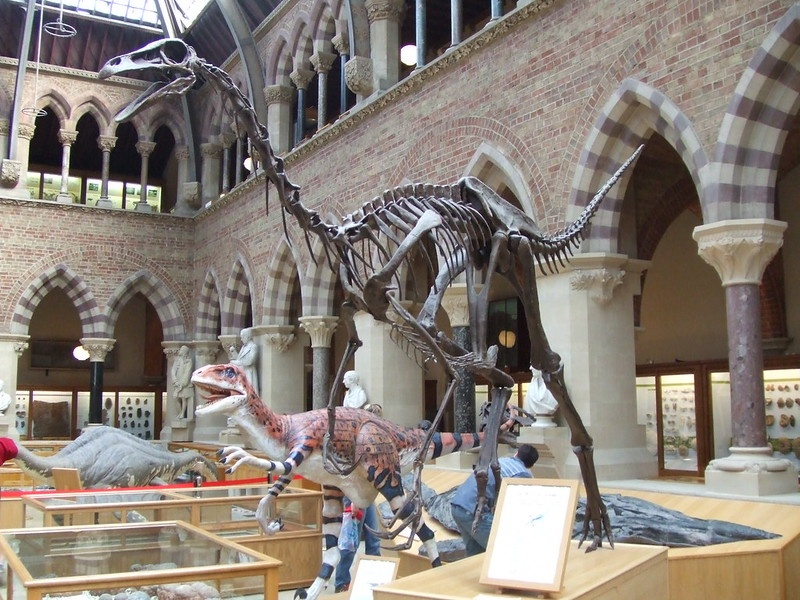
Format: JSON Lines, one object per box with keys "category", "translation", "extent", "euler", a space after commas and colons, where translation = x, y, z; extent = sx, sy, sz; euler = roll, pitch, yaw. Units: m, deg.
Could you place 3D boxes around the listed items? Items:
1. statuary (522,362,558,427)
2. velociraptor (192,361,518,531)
{"category": "statuary", "translation": [1.697, 1.198, 8.196], "extent": [0.340, 0.841, 0.271], "euler": [1, -9, -21]}
{"category": "velociraptor", "translation": [-0.296, 1.171, 4.630], "extent": [2.479, 1.178, 0.643], "euler": [9, -21, -25]}
